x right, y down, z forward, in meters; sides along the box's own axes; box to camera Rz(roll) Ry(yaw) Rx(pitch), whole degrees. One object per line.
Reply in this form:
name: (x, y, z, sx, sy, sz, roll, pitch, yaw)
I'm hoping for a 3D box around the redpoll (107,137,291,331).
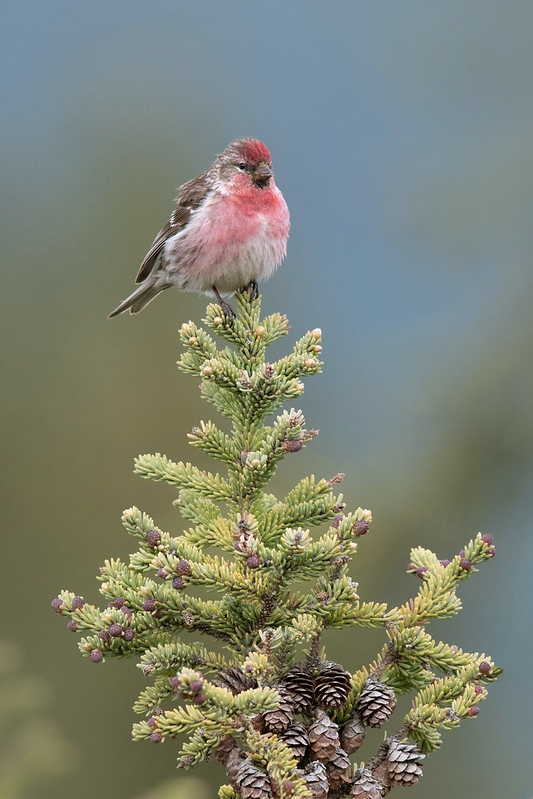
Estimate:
redpoll: (-0.217, -0.561, 3.494, 0.650, 0.531, 0.384, 6, 15, 43)
